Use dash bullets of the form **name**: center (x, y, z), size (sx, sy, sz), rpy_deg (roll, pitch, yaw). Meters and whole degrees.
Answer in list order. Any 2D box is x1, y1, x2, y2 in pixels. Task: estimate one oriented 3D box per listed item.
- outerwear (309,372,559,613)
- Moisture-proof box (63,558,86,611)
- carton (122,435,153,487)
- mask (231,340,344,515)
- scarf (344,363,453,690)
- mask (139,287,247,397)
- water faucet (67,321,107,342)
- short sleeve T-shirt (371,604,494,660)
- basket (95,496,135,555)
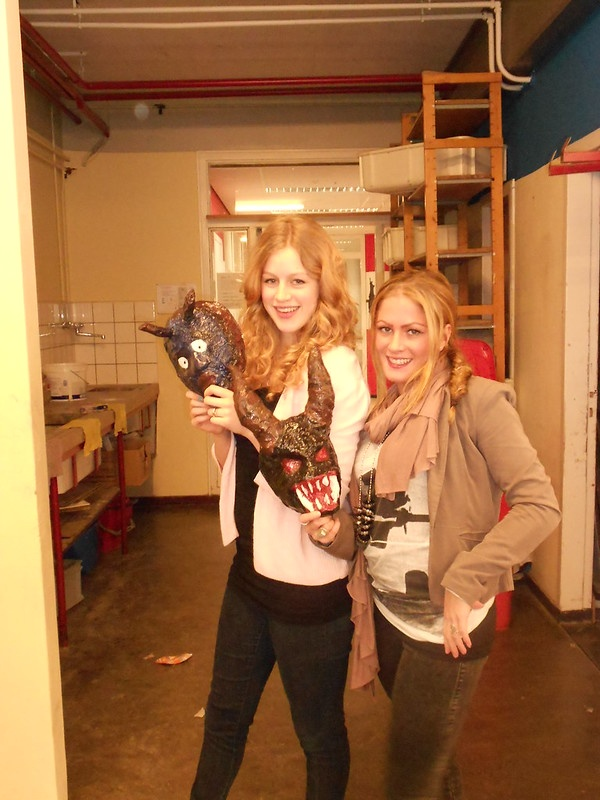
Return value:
- **outerwear**: center (0.285, 0.152, 1.045), size (0.199, 0.361, 0.167), rpy_deg (-4, 7, -15)
- **Moisture-proof box**: center (-1.006, 0.803, 2.954), size (0.071, 0.190, 0.246), rpy_deg (-4, 7, -18)
- **carton**: center (-0.967, 0.354, 3.918), size (0.240, 0.276, 0.424), rpy_deg (0, 1, -4)
- **mask**: center (-0.031, 0.047, 0.927), size (0.166, 0.233, 0.072), rpy_deg (1, 8, 25)
- **scarf**: center (0.139, 0.222, 1.138), size (0.169, 0.554, 0.169), rpy_deg (13, -7, -6)
- **mask**: center (-0.151, -0.082, 0.963), size (0.121, 0.146, 0.092), rpy_deg (-1, 7, 12)
- **water faucet**: center (-1.436, -0.457, 4.419), size (0.191, 0.089, 0.105), rpy_deg (13, 9, 23)
- **short sleeve T-shirt**: center (0.227, 0.367, 1.097), size (0.139, 0.063, 0.102), rpy_deg (-1, -5, -2)
- **basket**: center (-1.001, 0.719, 3.680), size (0.196, 0.213, 0.157), rpy_deg (-2, -20, -10)
